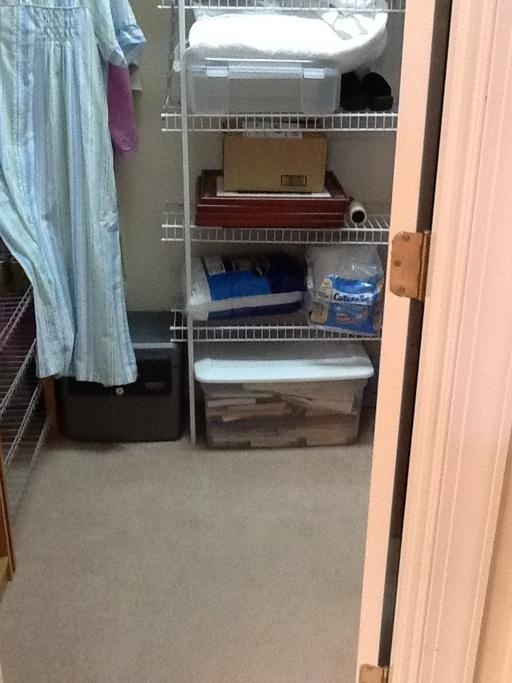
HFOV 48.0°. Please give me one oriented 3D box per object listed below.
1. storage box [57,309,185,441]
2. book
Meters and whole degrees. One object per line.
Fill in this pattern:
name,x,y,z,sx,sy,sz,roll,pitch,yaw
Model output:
storage box,-0.535,0.108,2.369,0.419,0.408,0.486,-1,16,-6
book,0.087,0.295,2.321,0.412,0.211,0.346,-1,5,-6
